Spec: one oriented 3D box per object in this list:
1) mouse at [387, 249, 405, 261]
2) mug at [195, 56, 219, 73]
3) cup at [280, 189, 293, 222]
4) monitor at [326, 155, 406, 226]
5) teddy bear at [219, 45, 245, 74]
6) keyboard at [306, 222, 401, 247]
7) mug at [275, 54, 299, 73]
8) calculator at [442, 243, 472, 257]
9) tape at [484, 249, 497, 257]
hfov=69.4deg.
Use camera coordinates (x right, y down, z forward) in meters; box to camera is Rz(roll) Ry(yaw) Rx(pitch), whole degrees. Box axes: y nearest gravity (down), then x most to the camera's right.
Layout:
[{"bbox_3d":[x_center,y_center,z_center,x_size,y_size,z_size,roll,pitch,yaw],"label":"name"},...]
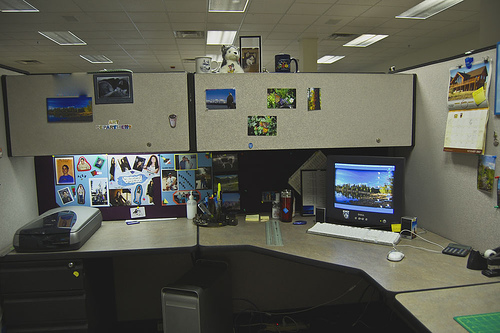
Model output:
[{"bbox_3d":[0.925,0.559,2.298,0.104,0.042,0.150,2,6,22],"label":"mouse"},{"bbox_3d":[-0.305,-0.741,2.607,0.141,0.092,0.087,-1,4,-17],"label":"mug"},{"bbox_3d":[0.302,0.305,2.791,0.105,0.238,0.061,-6,8,-41],"label":"cup"},{"bbox_3d":[0.867,0.149,2.757,0.533,0.487,0.285,4,17,19],"label":"monitor"},{"bbox_3d":[-0.124,-0.786,2.652,0.182,0.215,0.132,-1,6,1],"label":"teddy bear"},{"bbox_3d":[0.732,0.472,2.580,0.618,0.091,0.217,1,6,21],"label":"keyboard"},{"bbox_3d":[0.287,-0.780,2.707,0.173,0.118,0.105,1,5,-5],"label":"mug"},{"bbox_3d":[1.311,0.534,2.303,0.152,0.047,0.121,3,7,32],"label":"calculator"},{"bbox_3d":[1.425,0.520,2.152,0.065,0.037,0.036,-1,6,1],"label":"tape"}]
